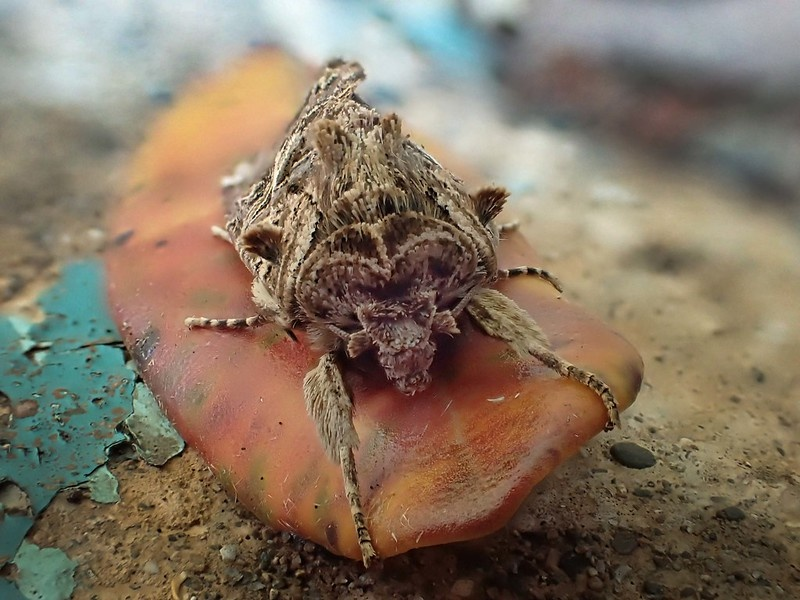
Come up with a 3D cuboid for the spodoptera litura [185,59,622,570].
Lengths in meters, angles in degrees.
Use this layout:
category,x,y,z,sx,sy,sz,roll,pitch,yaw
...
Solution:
category,x,y,z,sx,sy,sz,roll,pitch,yaw
spodoptera litura,-0.080,-0.319,2.939,1.585,0.927,1.873,-14,53,-4
